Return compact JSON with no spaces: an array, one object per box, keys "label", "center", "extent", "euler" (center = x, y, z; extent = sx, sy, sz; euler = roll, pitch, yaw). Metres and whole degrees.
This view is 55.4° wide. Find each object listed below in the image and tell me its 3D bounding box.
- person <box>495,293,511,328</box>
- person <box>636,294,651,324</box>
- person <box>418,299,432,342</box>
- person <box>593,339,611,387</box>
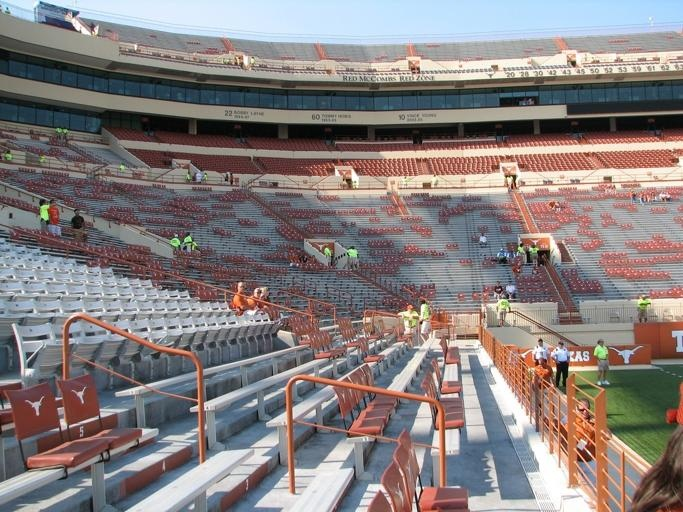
[{"label":"person","center":[6.020,2.055,24.206],"extent":[0.566,0.917,1.176],"euler":[-12,-5,11]},{"label":"person","center":[11.819,2.024,25.452],"extent":[0.596,0.951,0.867],"euler":[-13,-6,23]},{"label":"person","center":[2.937,2.186,23.177],"extent":[0.447,1.102,1.369],"euler":[-12,-5,8]},{"label":"person","center":[8.248,3.279,20.726],"extent":[0.478,1.253,1.559],"euler":[-13,-6,20]}]
